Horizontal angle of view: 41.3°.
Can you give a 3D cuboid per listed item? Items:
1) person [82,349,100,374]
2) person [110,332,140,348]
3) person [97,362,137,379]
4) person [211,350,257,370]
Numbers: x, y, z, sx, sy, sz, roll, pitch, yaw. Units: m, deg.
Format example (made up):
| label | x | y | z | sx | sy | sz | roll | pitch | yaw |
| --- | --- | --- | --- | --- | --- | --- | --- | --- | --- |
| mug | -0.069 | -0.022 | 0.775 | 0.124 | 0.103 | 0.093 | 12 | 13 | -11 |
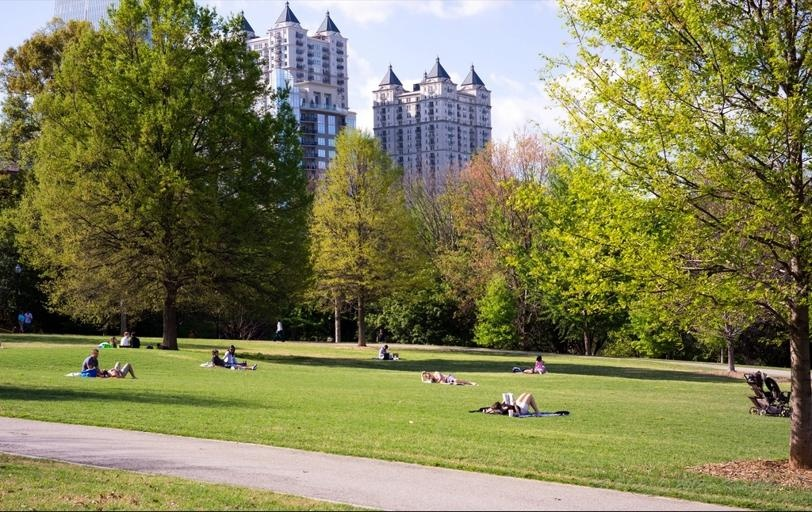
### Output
| label | x | y | z | sx | sy | sz | roll | pitch | yaw |
| --- | --- | --- | --- | --- | --- | --- | --- | --- | --- |
| person | -13.425 | 4.538 | 45.992 | 0.682 | 0.921 | 0.927 | -2 | -7 | 15 |
| person | -14.558 | 4.380 | 55.750 | 1.086 | 0.950 | 1.703 | 3 | 3 | -39 |
| person | -12.016 | 4.812 | 45.181 | 1.472 | 0.622 | 0.669 | -1 | 1 | -29 |
| person | -8.157 | 4.932 | 50.965 | 2.237 | 0.906 | 1.468 | 2 | 9 | 4 |
